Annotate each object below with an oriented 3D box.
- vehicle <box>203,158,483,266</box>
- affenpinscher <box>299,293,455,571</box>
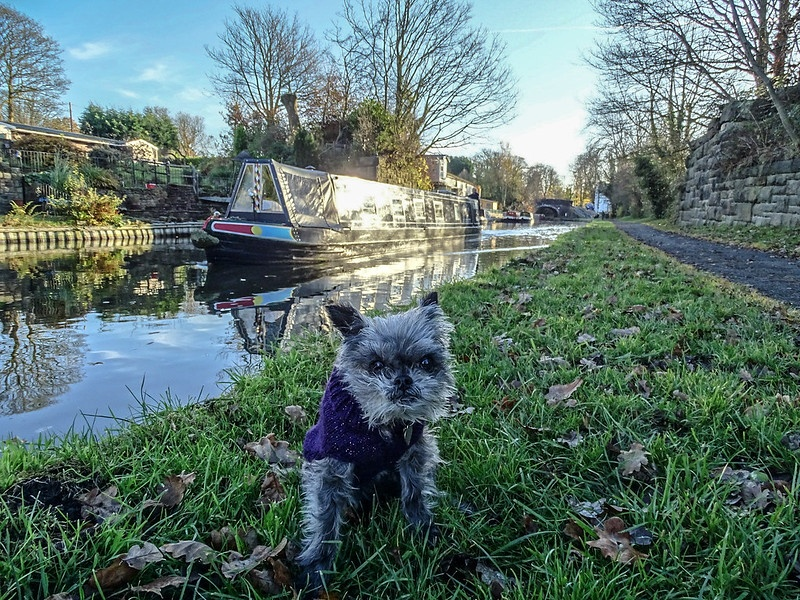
[{"bbox_3d":[-0.740,-3.472,21.008,3.379,3.358,16.243,5,11,26],"label":"vehicle"},{"bbox_3d":[-0.253,0.905,3.932,1.145,1.709,1.743,0,1,-22],"label":"affenpinscher"}]
